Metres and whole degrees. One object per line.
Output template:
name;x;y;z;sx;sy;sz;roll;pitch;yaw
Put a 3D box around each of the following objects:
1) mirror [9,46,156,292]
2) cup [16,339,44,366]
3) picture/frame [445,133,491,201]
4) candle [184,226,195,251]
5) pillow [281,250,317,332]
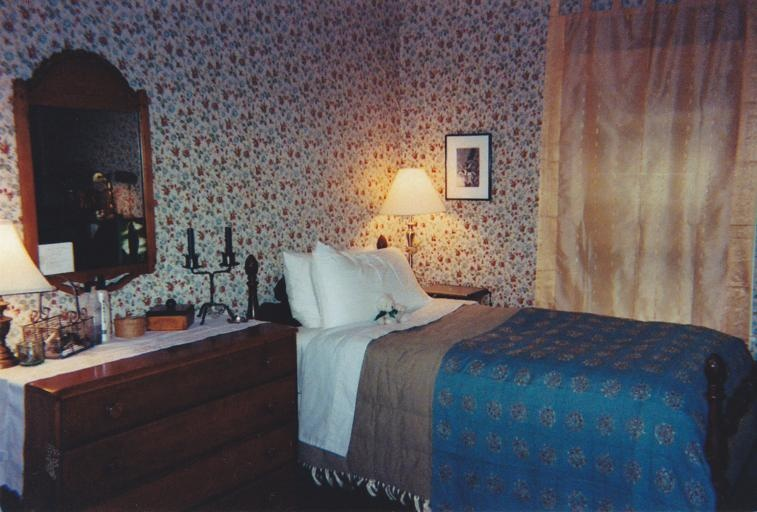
mirror;-1.643;-0.435;3.486;0.066;1.374;0.749;13;17;38
cup;-1.750;0.487;3.059;0.129;0.138;0.130;0;-3;0
picture/frame;0.802;-0.802;5.357;0.571;0.781;0.054;3;6;30
candle;-1.109;-0.086;3.560;0.033;0.149;0.065;-4;13;-29
pillow;-0.538;0.229;4.156;0.127;0.424;0.437;-10;-12;33
